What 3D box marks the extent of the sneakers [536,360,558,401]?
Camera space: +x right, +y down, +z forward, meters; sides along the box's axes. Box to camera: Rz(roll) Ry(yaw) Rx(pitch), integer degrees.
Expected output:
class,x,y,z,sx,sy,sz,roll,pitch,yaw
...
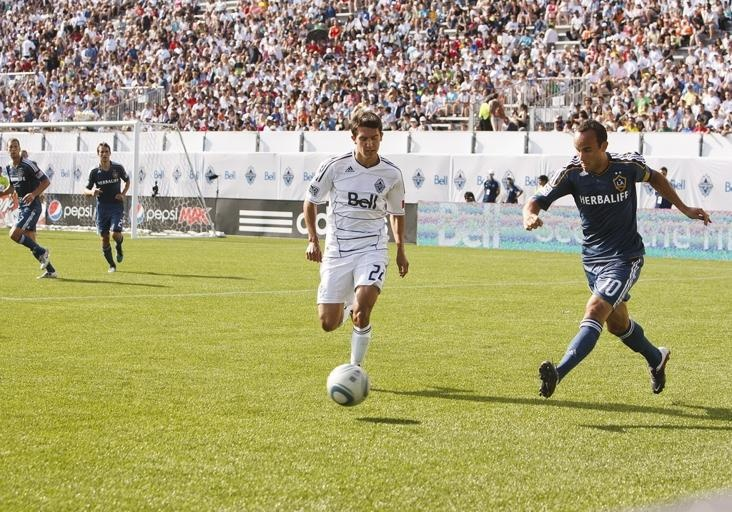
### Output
class,x,y,z,sx,sy,sz,roll,pitch,yaw
sneakers,1.433,0.993,7.737,0.117,0.329,0.147,1,0,43

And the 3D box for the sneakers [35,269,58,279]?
class,x,y,z,sx,sy,sz,roll,pitch,yaw
sneakers,-5.133,0.301,15.522,0.376,0.166,0.135,3,1,1

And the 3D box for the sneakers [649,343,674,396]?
class,x,y,z,sx,sy,sz,roll,pitch,yaw
sneakers,2.565,1.022,8.559,0.221,0.463,0.145,5,0,-22

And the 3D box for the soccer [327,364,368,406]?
class,x,y,z,sx,sy,sz,roll,pitch,yaw
soccer,-0.159,1.057,8.017,0.359,0.373,0.368,10,-7,8

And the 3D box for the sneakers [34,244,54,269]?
class,x,y,z,sx,sy,sz,roll,pitch,yaw
sneakers,-5.178,0.050,15.527,0.183,0.494,0.230,-8,-5,37

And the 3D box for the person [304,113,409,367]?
class,x,y,z,sx,sy,sz,roll,pitch,yaw
person,-0.090,-0.202,8.756,0.943,2.275,0.727,0,7,-4

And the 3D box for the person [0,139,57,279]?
class,x,y,z,sx,sy,sz,roll,pitch,yaw
person,-5.577,-0.784,15.878,0.796,2.260,1.529,-2,7,-21
